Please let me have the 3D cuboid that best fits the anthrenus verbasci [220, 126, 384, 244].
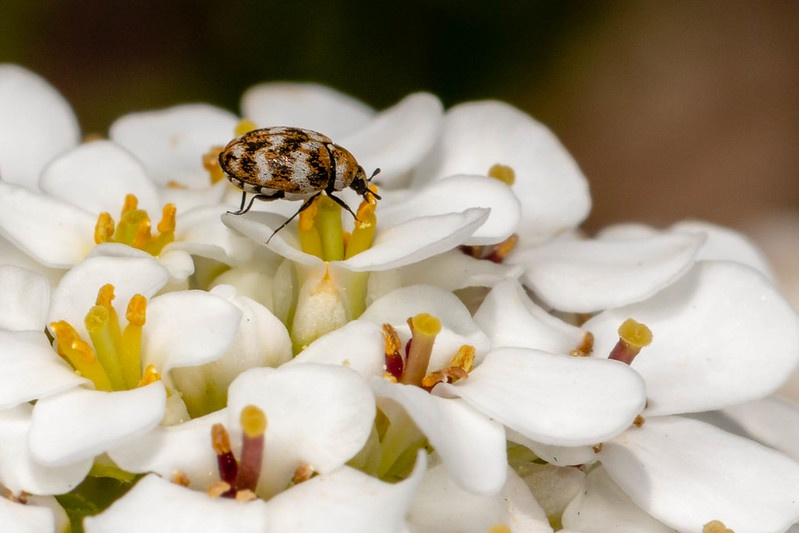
[{"bbox_3d":[-0.108,-0.101,0.951,0.140,0.069,0.151,8,29,-15],"label":"anthrenus verbasci"}]
